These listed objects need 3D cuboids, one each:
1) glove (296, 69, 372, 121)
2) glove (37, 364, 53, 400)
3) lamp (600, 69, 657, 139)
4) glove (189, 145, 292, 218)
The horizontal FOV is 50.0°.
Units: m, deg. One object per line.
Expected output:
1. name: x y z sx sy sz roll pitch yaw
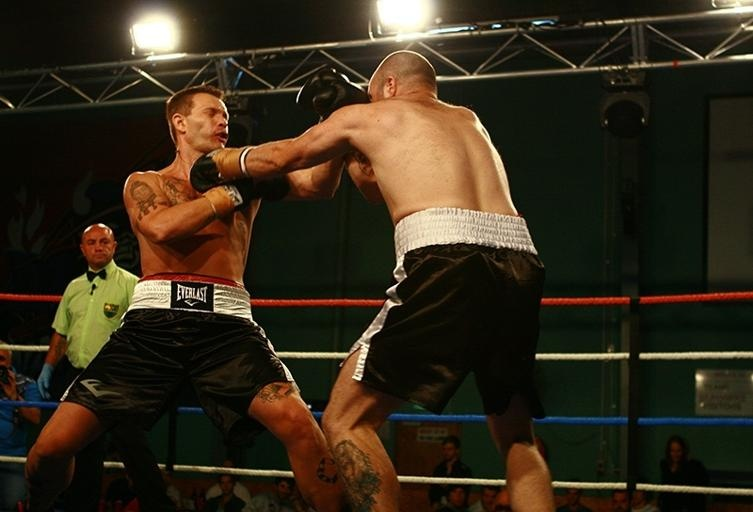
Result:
1. glove: -0.307 -1.075 5.697 0.461 0.352 0.220 19 -34 0
2. glove: -2.937 1.098 7.073 0.083 0.281 0.206 5 -9 21
3. lamp: 2.778 -1.717 9.104 0.498 0.557 0.641 2 -18 8
4. glove: -0.956 -0.518 5.400 0.525 0.188 0.406 -14 -29 33
